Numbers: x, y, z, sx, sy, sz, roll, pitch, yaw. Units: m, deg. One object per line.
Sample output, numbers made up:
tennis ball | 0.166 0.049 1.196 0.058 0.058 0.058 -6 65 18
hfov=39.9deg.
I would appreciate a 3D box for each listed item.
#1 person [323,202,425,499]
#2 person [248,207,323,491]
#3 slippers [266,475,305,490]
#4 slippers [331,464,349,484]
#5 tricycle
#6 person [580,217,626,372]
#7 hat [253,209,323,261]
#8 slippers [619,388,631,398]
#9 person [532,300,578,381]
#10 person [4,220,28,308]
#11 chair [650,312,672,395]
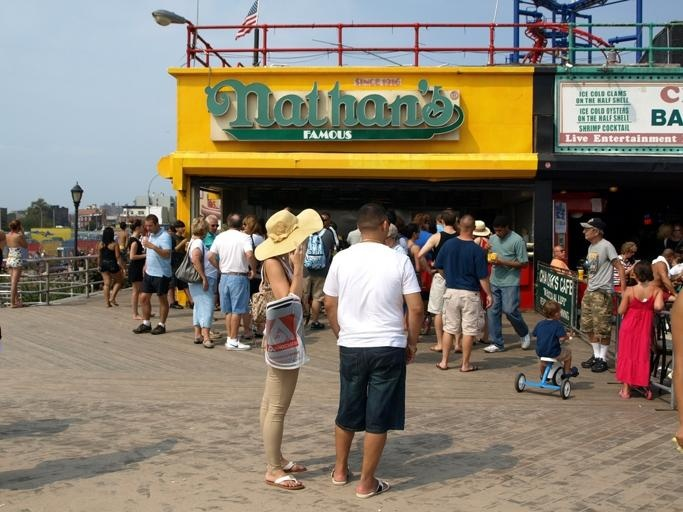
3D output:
person | 0.504 0.899 10.500 1.417 2.822 1.076 0 0 -36
person | -0.594 0.995 10.505 0.699 2.933 1.081 0 10 1
slippers | -0.617 2.466 10.281 0.302 0.083 0.172 -1 1 23
slippers | -0.019 2.399 10.360 0.218 0.164 0.555 -1 -1 2
tricycle | 2.850 1.569 13.157 0.620 0.687 0.680 5 6 5
person | 3.964 0.545 14.533 0.649 2.152 0.834 7 10 22
hat | -0.573 -0.273 10.681 0.561 0.676 0.587 12 8 22
slippers | 3.894 1.893 13.028 0.123 0.065 0.252 0 4 10
person | 2.940 1.139 13.411 0.702 1.082 0.706 5 6 5
person | -7.143 0.141 19.914 0.581 1.612 0.816 0 0 5
chair | 4.397 1.323 12.997 0.363 1.242 0.457 6 9 18
